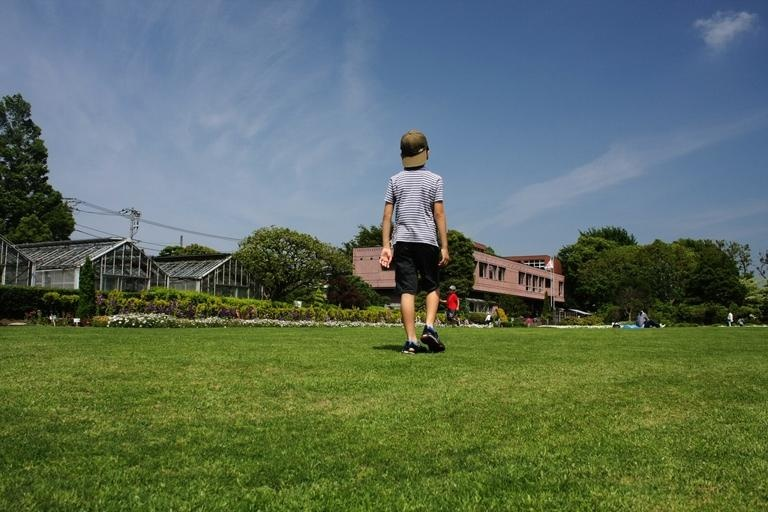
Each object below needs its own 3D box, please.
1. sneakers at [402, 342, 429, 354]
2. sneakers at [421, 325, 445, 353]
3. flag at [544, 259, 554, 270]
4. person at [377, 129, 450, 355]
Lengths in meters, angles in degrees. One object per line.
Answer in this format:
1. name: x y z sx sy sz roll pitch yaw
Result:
1. sneakers: 0.349 0.998 5.685 0.121 0.130 0.338 -2 -5 38
2. sneakers: 0.543 0.908 5.772 0.248 0.289 0.343 -1 -2 8
3. flag: 23.241 1.261 73.508 1.147 1.803 1.396 -3 -19 22
4. person: 0.365 -0.185 5.972 0.786 2.552 0.836 0 -2 -4
